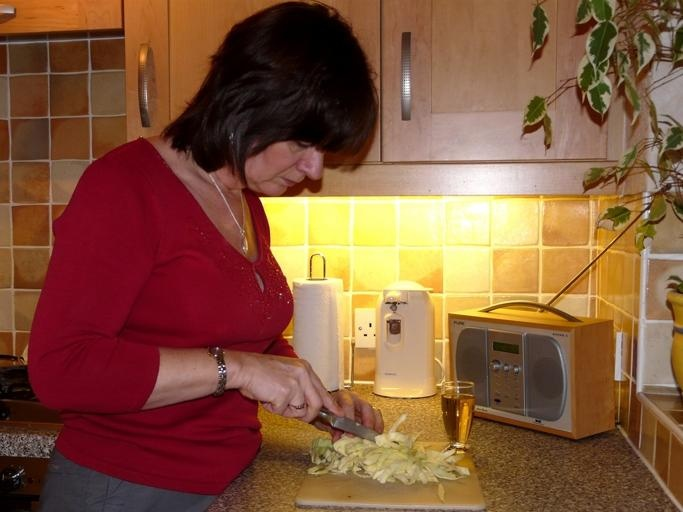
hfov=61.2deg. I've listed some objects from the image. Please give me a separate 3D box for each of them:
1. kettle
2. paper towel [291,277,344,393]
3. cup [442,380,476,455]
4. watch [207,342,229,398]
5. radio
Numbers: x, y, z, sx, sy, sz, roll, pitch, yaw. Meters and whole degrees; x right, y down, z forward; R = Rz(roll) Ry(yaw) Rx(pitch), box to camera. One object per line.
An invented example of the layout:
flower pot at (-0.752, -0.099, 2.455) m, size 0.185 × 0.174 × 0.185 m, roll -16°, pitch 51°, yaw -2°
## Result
kettle at (0.199, 0.260, 1.793) m, size 0.267 × 0.481 × 0.290 m, roll 0°, pitch -2°, yaw 14°
paper towel at (-0.064, 0.219, 1.709) m, size 0.135 × 0.329 × 0.144 m, roll 2°, pitch 7°, yaw 6°
cup at (0.255, 0.361, 1.316) m, size 0.075 × 0.153 × 0.095 m, roll 1°, pitch 0°, yaw 9°
watch at (-0.228, 0.214, 1.088) m, size 0.043 × 0.081 × 0.081 m, roll 0°, pitch -27°, yaw -5°
radio at (0.514, 0.154, 1.511) m, size 0.416 × 0.566 × 0.265 m, roll 4°, pitch 6°, yaw 37°
